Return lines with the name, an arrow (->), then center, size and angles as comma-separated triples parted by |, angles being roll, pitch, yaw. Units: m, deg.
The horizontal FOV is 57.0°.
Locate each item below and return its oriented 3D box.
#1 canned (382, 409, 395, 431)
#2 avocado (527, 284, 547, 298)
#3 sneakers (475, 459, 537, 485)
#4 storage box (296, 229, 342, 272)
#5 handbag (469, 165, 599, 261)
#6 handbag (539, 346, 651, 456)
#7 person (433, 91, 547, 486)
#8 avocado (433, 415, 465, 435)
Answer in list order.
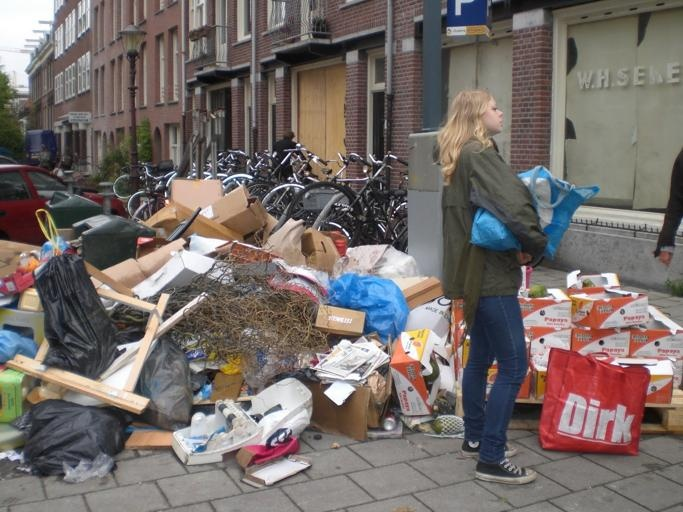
canned -> 0.362, 1.246, 4.801 | 0.092, 0.094, 0.150 | 6, 7, 3
avocado -> 1.616, 0.286, 5.231 | 0.117, 0.087, 0.100 | -3, 6, -24
sneakers -> 1.069, 1.378, 4.137 | 0.383, 0.166, 0.156 | 0, 4, 3
storage box -> -0.267, -0.051, 7.051 | 0.342, 0.363, 0.195 | 22, -45, -29
handbag -> 1.310, -0.361, 4.216 | 0.760, 0.662, 0.284 | 24, -13, 35
handbag -> 1.781, 1.050, 4.456 | 0.570, 0.595, 0.218 | 10, -5, 5
person -> 0.967, 0.175, 4.173 | 0.460, 2.493, 0.791 | -6, 11, -32
avocado -> 0.804, 1.256, 4.718 | 0.192, 0.128, 0.098 | -1, -17, -2
